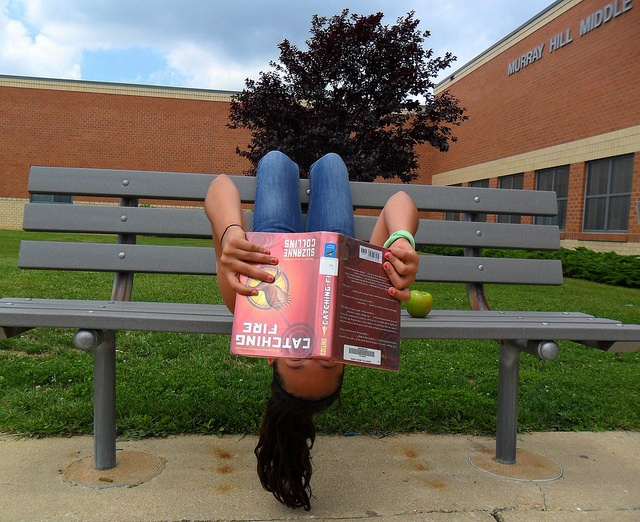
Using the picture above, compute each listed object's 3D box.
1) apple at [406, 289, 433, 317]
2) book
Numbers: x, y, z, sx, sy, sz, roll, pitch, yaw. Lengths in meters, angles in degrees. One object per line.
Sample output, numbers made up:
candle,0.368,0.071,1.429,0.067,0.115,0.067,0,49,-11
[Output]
apple,0.522,0.223,2.865,0.146,0.140,0.143,2,1,2
book,-0.016,0.155,1.935,0.713,0.520,0.126,1,-9,5
